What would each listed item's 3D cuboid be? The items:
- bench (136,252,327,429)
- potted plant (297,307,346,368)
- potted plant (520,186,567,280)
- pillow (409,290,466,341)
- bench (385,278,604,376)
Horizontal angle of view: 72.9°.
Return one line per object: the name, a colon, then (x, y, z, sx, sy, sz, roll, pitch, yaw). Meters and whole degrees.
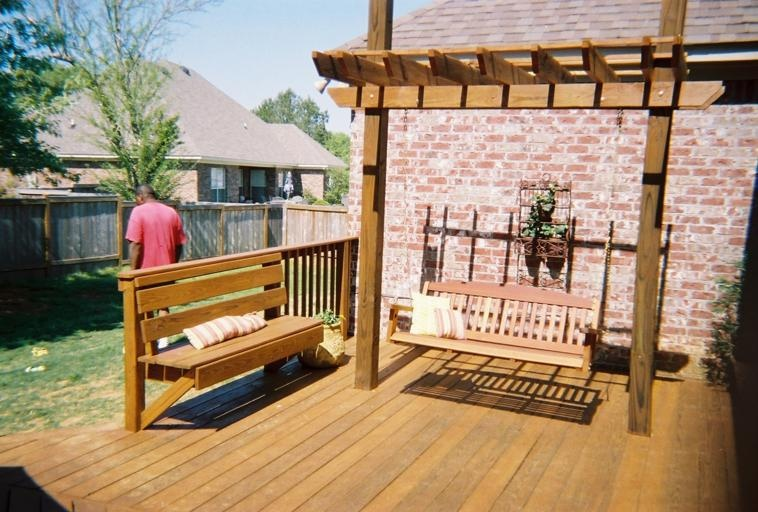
bench: (-1.391, 0.806, 5.316, 0.946, 1.230, 2.050, 9, 9, 23)
potted plant: (-0.534, 0.998, 6.273, 0.818, 0.553, 0.689, -1, 1, 0)
potted plant: (2.115, -0.277, 6.637, 0.684, 1.323, 0.361, 5, 17, 10)
pillow: (0.711, 0.719, 6.339, 0.617, 0.433, 0.681, -1, 14, -11)
bench: (1.498, 0.816, 6.304, 2.172, 0.779, 1.995, 6, 14, 20)
